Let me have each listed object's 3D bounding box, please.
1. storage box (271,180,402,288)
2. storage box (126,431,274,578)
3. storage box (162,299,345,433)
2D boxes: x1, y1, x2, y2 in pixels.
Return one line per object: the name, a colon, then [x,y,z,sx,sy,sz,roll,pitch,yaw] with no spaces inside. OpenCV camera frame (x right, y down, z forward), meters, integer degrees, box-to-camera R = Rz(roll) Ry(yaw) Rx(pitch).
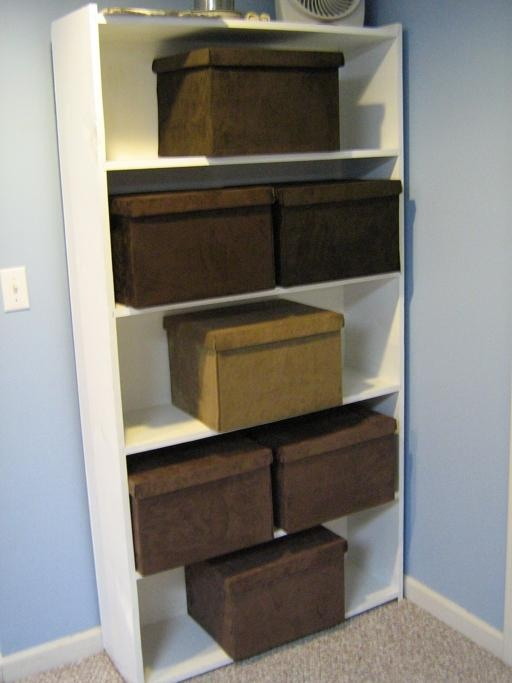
storage box: [0.187,-0.237,1.368,0.335,0.211,0.049,-10,12,-34]
storage box: [-0.117,0.341,1.385,0.343,0.212,0.165,-8,12,-26]
storage box: [-0.007,0.038,1.438,0.359,0.224,0.304,-8,12,-26]
